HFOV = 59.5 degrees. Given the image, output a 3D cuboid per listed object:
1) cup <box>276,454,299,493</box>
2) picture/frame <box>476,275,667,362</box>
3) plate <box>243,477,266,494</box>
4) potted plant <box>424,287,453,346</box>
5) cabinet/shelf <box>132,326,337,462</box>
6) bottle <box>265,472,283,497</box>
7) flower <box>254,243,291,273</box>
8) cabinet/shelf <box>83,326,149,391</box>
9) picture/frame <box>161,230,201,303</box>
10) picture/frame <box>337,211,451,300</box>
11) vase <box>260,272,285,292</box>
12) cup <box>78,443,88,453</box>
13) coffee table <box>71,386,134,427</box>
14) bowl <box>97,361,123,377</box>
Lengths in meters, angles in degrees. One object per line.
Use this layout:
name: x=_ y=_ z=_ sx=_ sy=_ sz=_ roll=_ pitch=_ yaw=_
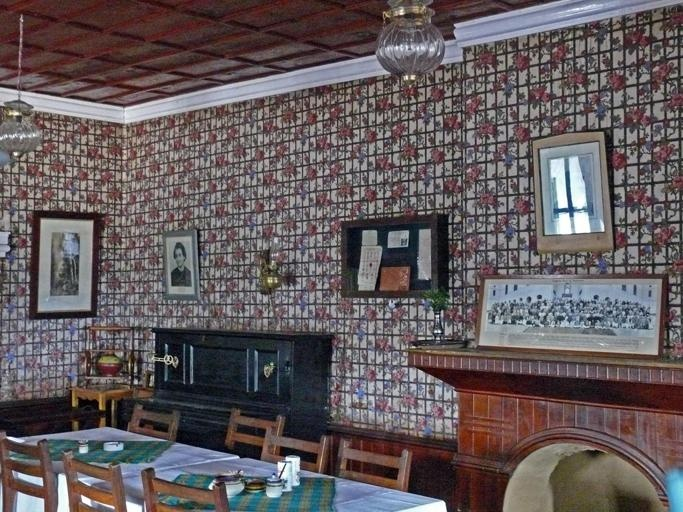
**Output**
cup: x=-0.307 y=1.346 z=3.762 sx=0.119 sy=0.182 sz=0.192 roll=2 pitch=4 yaw=15
picture/frame: x=1.779 y=0.464 z=4.729 sx=1.360 sy=0.652 sz=0.122 roll=-1 pitch=-17 yaw=26
plate: x=-0.534 y=1.415 z=3.718 sx=0.123 sy=0.044 sz=0.183 roll=0 pitch=-3 yaw=-8
potted plant: x=0.889 y=0.515 z=5.377 sx=0.292 sy=0.488 sz=0.277 roll=3 pitch=-5 yaw=1
cabinet/shelf: x=-1.384 y=1.612 z=6.849 sx=2.175 sy=1.463 sz=1.179 roll=-4 pitch=-5 yaw=36
bottle: x=-0.411 y=1.382 z=3.621 sx=0.095 sy=0.140 sz=0.099 roll=2 pitch=-2 yaw=0
flower: x=-0.834 y=0.026 z=6.972 sx=0.218 sy=0.332 sz=0.339 roll=2 pitch=-3 yaw=-43
cabinet/shelf: x=-3.098 y=1.429 z=8.222 sx=0.785 sy=0.735 sz=0.268 roll=-1 pitch=-15 yaw=3
picture/frame: x=-2.083 y=0.132 z=7.860 sx=0.935 sy=1.072 sz=0.084 roll=-3 pitch=-3 yaw=42
picture/frame: x=0.570 y=0.002 z=6.016 sx=0.911 sy=0.615 sz=0.130 roll=-4 pitch=-8 yaw=41
vase: x=-0.803 y=0.289 z=6.899 sx=0.238 sy=0.182 sz=0.270 roll=2 pitch=-7 yaw=-14
cup: x=-1.977 y=1.477 z=4.608 sx=0.065 sy=0.061 sz=0.065 roll=1 pitch=-5 yaw=0
coffee table: x=-3.209 y=2.008 z=7.870 sx=0.632 sy=0.461 sz=0.645 roll=17 pitch=-25 yaw=-42
bowl: x=-3.137 y=1.521 z=8.142 sx=0.248 sy=0.235 sz=0.242 roll=2 pitch=-12 yaw=0
